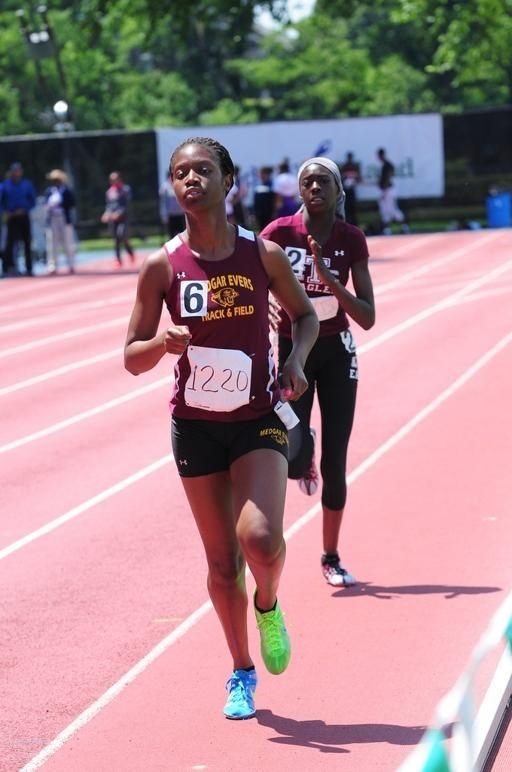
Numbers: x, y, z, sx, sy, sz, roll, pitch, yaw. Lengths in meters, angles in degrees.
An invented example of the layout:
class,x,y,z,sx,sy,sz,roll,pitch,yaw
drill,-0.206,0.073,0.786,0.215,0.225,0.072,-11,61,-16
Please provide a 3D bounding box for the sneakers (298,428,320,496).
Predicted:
class,x,y,z,sx,sy,sz,roll,pitch,yaw
sneakers,0.265,0.380,3.537,0.116,0.329,0.146,-1,16,16

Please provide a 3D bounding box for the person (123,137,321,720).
class,x,y,z,sx,sy,sz,roll,pitch,yaw
person,-0.019,0.165,2.159,0.585,1.818,0.475,-10,8,-36

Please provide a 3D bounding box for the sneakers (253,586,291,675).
class,x,y,z,sx,sy,sz,roll,pitch,yaw
sneakers,0.049,0.715,2.179,0.092,0.256,0.109,-13,-17,2

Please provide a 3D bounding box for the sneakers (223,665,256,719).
class,x,y,z,sx,sy,sz,roll,pitch,yaw
sneakers,-0.050,0.957,2.268,0.082,0.082,0.202,-1,-2,1
